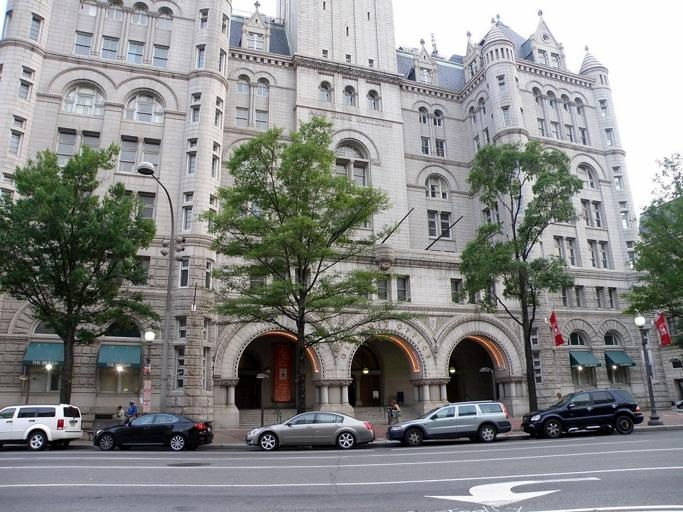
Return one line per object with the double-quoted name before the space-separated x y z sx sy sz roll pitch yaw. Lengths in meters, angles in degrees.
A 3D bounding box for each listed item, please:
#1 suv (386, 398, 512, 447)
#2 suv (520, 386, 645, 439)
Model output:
"suv" 5.107 8.087 28.706 5.650 1.879 2.316 2 -20 -2
"suv" 11.774 7.863 29.409 5.536 2.196 2.439 1 -26 2
